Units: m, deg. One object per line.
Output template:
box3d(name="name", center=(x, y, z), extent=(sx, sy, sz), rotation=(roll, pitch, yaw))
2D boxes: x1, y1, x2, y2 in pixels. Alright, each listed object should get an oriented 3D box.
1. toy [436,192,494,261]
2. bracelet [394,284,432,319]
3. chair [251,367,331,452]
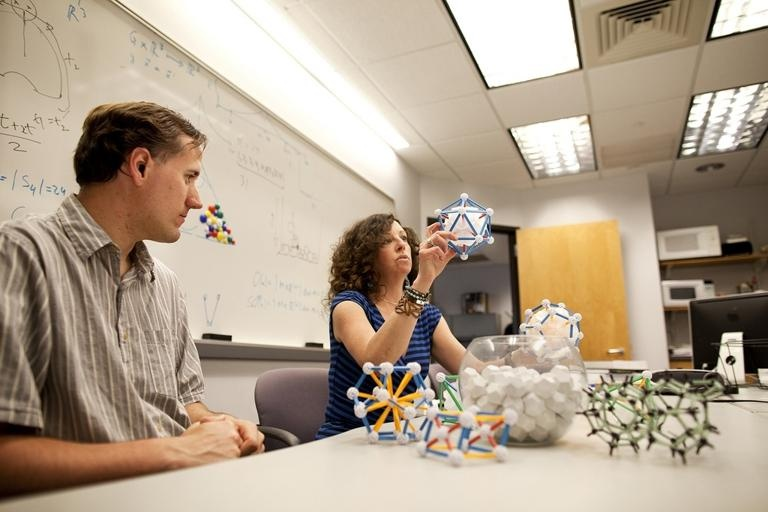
box3d(name="toy", center=(0.309, -0.090, 1.833), extent=(0.207, 0.242, 0.231), rotation=(3, -2, -6))
box3d(name="bracelet", center=(0.096, 0.153, 1.579), extent=(0.082, 0.066, 0.110), rotation=(12, -49, -2))
box3d(name="chair", center=(-0.404, 0.650, 2.126), extent=(0.286, 0.386, 0.312), rotation=(4, -13, -27))
